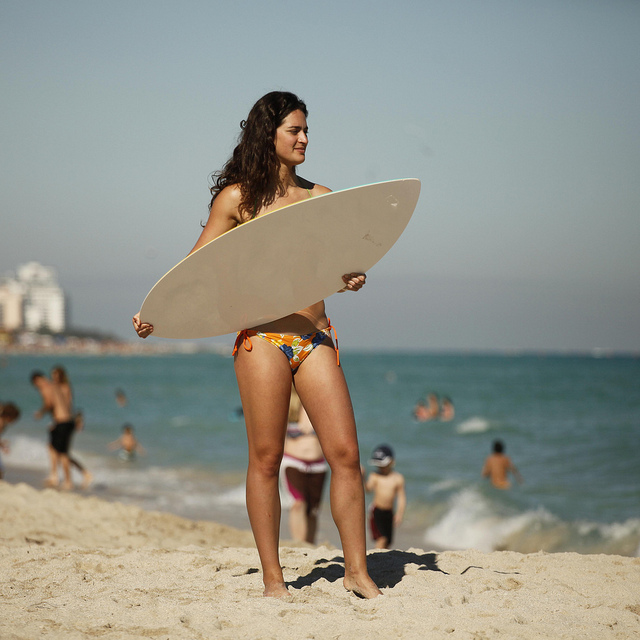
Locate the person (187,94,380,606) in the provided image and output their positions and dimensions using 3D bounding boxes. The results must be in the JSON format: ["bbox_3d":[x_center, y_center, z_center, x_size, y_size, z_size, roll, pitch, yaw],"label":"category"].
[{"bbox_3d":[-0.149,0.163,5.927,0.977,2.476,0.844,-1,7,3],"label":"person"}]

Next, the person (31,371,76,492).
[{"bbox_3d":[-2.176,0.949,10.019,0.336,0.877,0.673,3,-4,-15],"label":"person"}]

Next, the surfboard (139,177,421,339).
[{"bbox_3d":[-0.203,-0.297,5.904,1.305,0.788,0.454,2,-4,-8],"label":"surfboard"}]

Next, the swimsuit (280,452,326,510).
[{"bbox_3d":[-0.110,1.217,9.100,0.321,0.571,0.204,-5,38,-8],"label":"swimsuit"}]

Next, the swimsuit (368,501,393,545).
[{"bbox_3d":[0.465,1.567,9.366,0.177,0.332,0.251,2,-4,4],"label":"swimsuit"}]
